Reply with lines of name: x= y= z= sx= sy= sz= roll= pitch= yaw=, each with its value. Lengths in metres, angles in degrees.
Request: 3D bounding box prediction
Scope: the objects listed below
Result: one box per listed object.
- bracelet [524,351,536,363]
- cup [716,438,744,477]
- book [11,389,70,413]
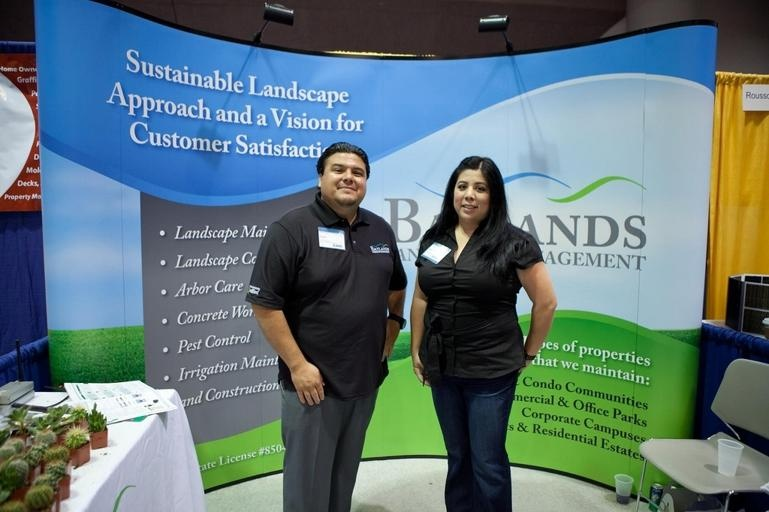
bracelet: x=0.943 y=0.641 z=3.541 sx=0.120 sy=0.087 sz=0.166 roll=0 pitch=-8 yaw=15
cup: x=2.168 y=1.232 z=3.440 sx=0.132 sy=0.214 sz=0.226 roll=0 pitch=1 yaw=31
book: x=-1.970 y=0.822 z=3.140 sx=0.175 sy=0.044 sz=0.186 roll=2 pitch=4 yaw=-2
